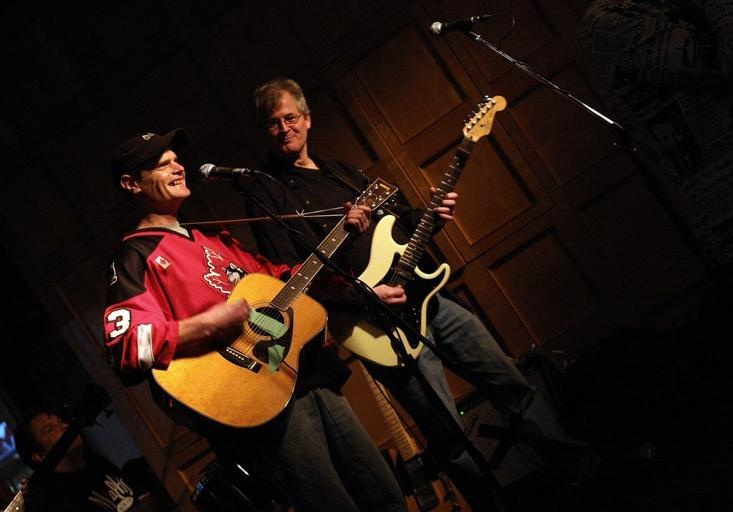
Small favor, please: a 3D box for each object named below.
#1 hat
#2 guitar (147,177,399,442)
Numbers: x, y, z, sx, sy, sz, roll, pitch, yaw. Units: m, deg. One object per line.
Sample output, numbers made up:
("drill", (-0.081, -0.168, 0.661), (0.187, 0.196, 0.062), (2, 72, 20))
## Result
("hat", (-1.508, -0.718, 3.677), (0.512, 0.243, 0.339), (-25, 17, 28))
("guitar", (-0.490, 0.334, 3.143), (1.407, 0.584, 0.215), (-56, 4, -29))
